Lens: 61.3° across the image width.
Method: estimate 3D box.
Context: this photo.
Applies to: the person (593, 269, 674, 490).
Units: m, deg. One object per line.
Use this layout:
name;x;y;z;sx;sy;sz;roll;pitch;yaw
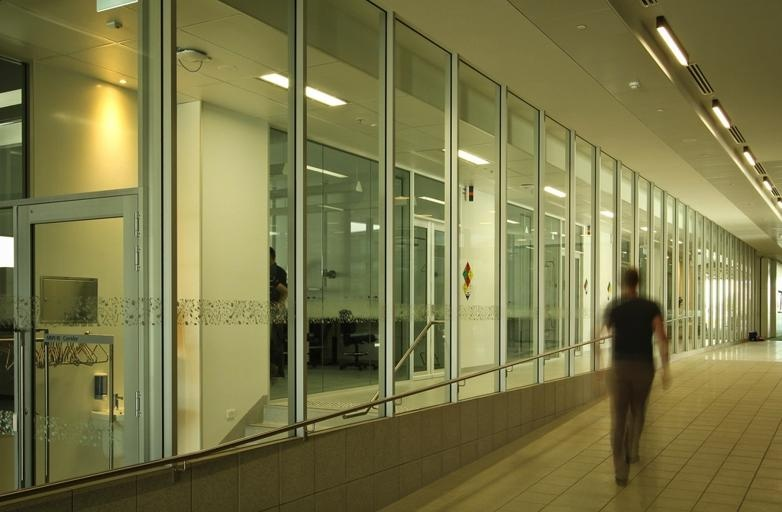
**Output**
person;2.622;1.315;7.065;0.691;2.103;0.429;-1;-2;-21
